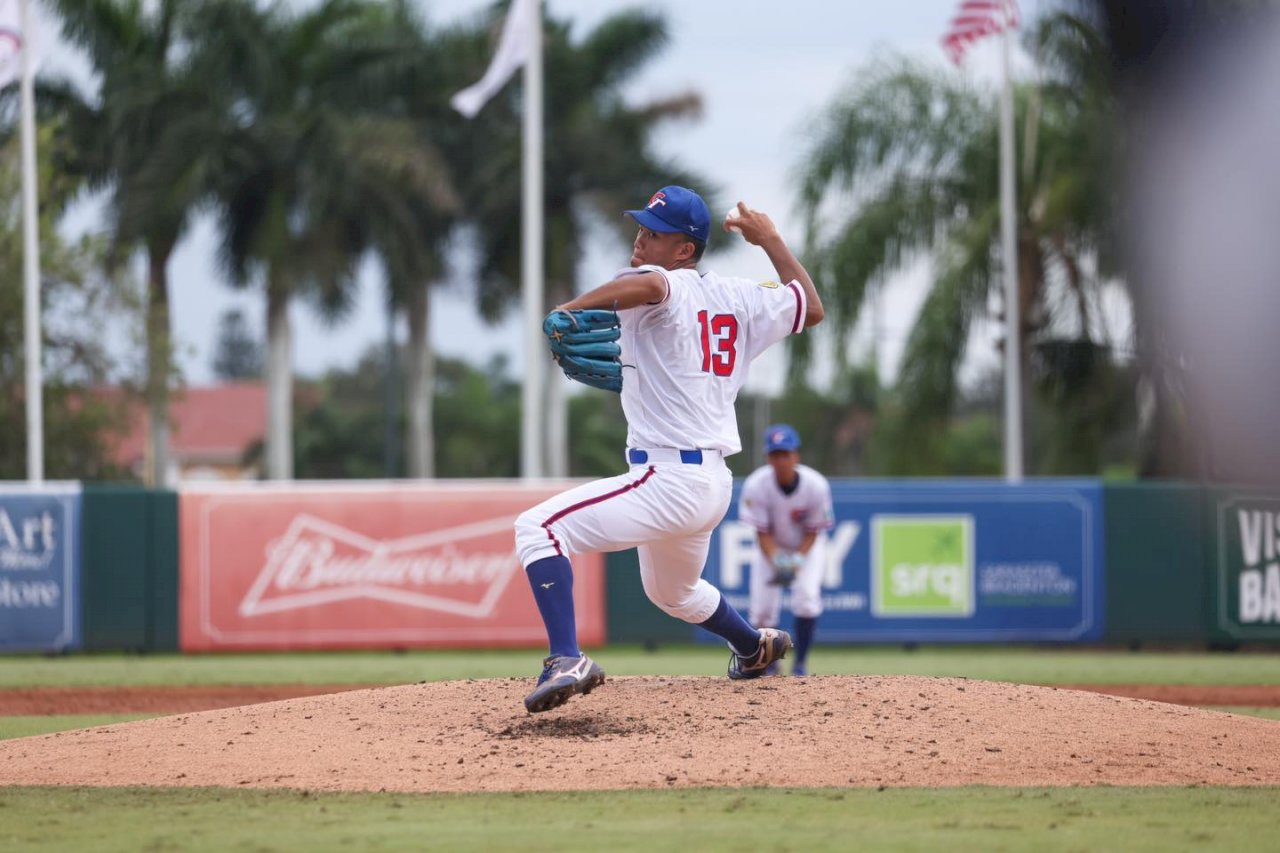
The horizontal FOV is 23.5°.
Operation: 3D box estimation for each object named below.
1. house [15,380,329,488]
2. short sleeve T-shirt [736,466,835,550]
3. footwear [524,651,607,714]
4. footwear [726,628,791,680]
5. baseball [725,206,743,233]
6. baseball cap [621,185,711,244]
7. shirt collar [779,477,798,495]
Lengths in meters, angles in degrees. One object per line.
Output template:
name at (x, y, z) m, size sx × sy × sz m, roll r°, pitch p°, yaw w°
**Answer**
house at (-5.156, 0.030, 35.818) m, size 1.628 × 1.385 × 5.780 m, roll -3°, pitch -7°, yaw 5°
short sleeve T-shirt at (1.401, 0.823, 29.838) m, size 0.748 × 0.681 × 0.265 m, roll 0°, pitch 1°, yaw 4°
footwear at (-0.690, 2.184, 26.302) m, size 0.831 × 0.366 × 0.418 m, roll -23°, pitch 21°, yaw -26°
footwear at (1.018, 2.136, 27.525) m, size 0.369 × 0.297 × 0.772 m, roll 5°, pitch -30°, yaw -12°
baseball at (0.817, -1.849, 26.793) m, size 0.107 × 0.254 × 0.178 m, roll 11°, pitch -13°, yaw -21°
baseball cap at (0.275, -1.877, 26.702) m, size 0.596 × 0.386 × 0.466 m, roll 14°, pitch 13°, yaw -8°
shirt collar at (1.432, 0.567, 29.709) m, size 0.159 × 0.183 × 0.171 m, roll -2°, pitch 4°, yaw -23°
